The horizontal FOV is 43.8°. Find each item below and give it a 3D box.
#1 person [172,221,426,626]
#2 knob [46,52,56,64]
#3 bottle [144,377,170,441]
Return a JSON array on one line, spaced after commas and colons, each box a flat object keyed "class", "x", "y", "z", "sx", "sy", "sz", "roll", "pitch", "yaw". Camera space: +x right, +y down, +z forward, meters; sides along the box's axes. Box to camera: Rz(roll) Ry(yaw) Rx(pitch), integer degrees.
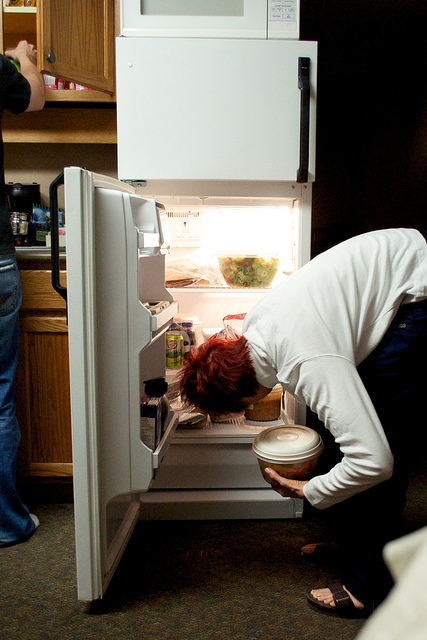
[{"class": "person", "x": 0.281, "y": 0.238, "z": 1.426, "sx": 0.537, "sy": 0.943, "sz": 0.752, "roll": 2, "pitch": 7, "yaw": 22}, {"class": "knob", "x": -0.493, "y": -0.798, "z": 1.620, "sx": 0.031, "sy": 0.030, "sz": 0.022, "roll": -1, "pitch": 12, "yaw": 15}, {"class": "bottle", "x": -0.154, "y": 0.235, "z": 1.421, "sx": 0.100, "sy": 0.153, "sz": 0.070, "roll": -3, "pitch": -6, "yaw": 36}]
